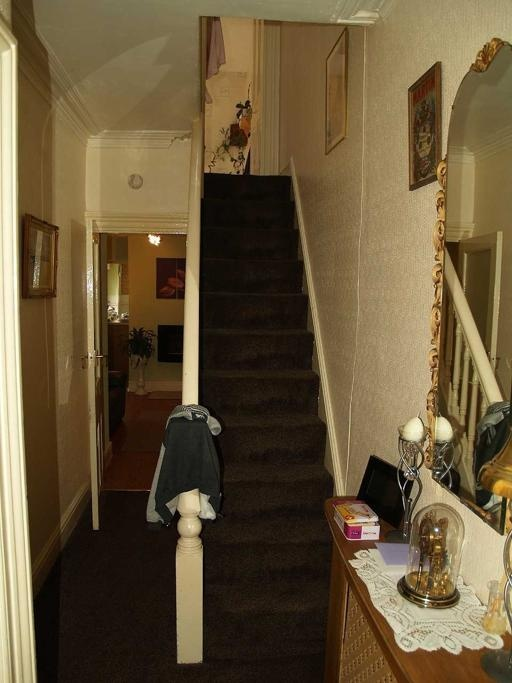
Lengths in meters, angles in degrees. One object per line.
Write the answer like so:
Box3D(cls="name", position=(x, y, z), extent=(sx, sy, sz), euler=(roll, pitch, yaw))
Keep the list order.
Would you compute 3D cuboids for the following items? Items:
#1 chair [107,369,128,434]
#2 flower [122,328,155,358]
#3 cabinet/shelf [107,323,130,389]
Box3D(cls="chair", position=(-1.505, 0.666, 5.419), extent=(0.169, 0.272, 0.668), euler=(-3, 35, -8))
Box3D(cls="flower", position=(-1.754, 0.050, 7.508), extent=(0.357, 0.550, 0.378), euler=(8, -3, -34))
Box3D(cls="cabinet/shelf", position=(-2.106, 0.095, 7.649), extent=(0.366, 0.762, 0.425), euler=(4, -2, -5))
